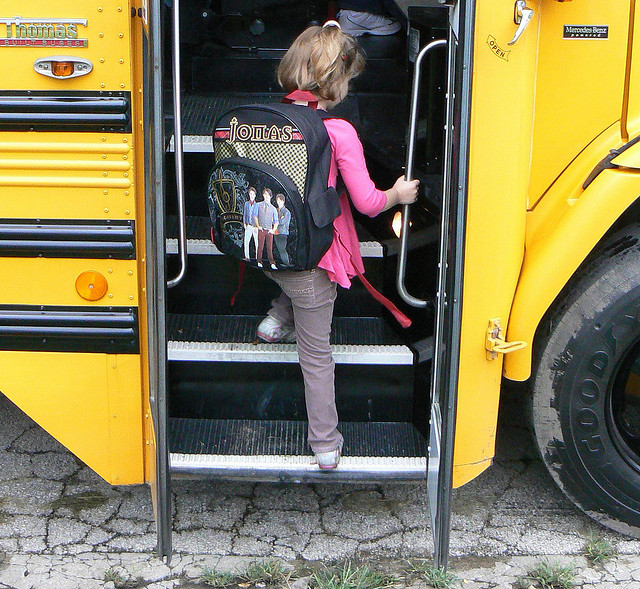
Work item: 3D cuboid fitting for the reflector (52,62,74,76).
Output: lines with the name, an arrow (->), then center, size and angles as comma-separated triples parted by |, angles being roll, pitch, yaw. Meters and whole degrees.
reflector -> -0.783, -0.692, 2.489 | 0.060, 0.065, 0.037 | 3, 16, 0

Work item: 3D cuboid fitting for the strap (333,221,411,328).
strap -> 0.205, -0.084, 3.107 | 0.069, 0.060, 0.468 | -40, 91, -35

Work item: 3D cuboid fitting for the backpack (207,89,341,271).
backpack -> -0.167, -0.395, 2.753 | 0.405, 0.596, 0.314 | 10, 21, 26

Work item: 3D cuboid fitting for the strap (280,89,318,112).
strap -> -0.065, -0.645, 2.756 | 0.084, 0.099, 0.084 | 19, 10, 12

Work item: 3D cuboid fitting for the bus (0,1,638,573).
bus -> -0.023, -0.156, 3.065 | 2.180, 1.935, 1.813 | -5, 24, -8
